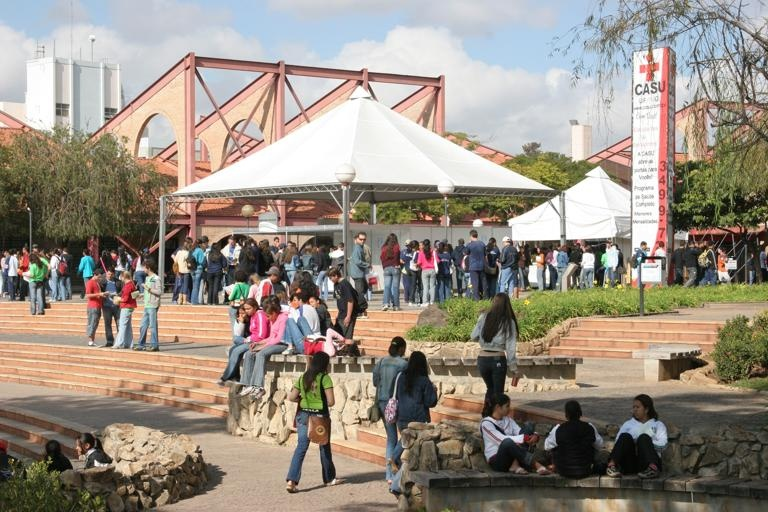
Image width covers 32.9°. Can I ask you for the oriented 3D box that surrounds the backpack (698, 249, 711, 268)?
[{"bbox_3d":[11.138,0.108,45.132,0.614,0.644,0.423,-2,-2,-14],"label":"backpack"}]

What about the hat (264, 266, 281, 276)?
[{"bbox_3d":[-3.027,0.467,35.587,0.368,0.203,0.291,8,7,35],"label":"hat"}]

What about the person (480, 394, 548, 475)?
[{"bbox_3d":[2.513,3.566,25.956,1.141,1.537,0.331,-1,-3,5],"label":"person"}]

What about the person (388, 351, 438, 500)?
[{"bbox_3d":[0.599,3.430,26.648,0.953,2.935,0.638,0,-3,0],"label":"person"}]

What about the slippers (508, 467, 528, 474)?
[{"bbox_3d":[2.681,4.253,25.759,0.134,0.152,0.368,5,-7,-35],"label":"slippers"}]

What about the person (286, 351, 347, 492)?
[{"bbox_3d":[-1.475,3.463,27.150,1.095,2.894,0.886,0,-3,-2],"label":"person"}]

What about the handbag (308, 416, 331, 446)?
[{"bbox_3d":[-1.347,3.620,26.894,0.469,0.649,0.251,0,-3,-10],"label":"handbag"}]

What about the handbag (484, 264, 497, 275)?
[{"bbox_3d":[3.125,0.440,37.825,0.369,0.270,0.203,2,-3,-28],"label":"handbag"}]

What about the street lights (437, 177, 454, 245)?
[{"bbox_3d":[2.028,-1.353,42.601,0.594,2.161,0.590,2,-4,-20],"label":"street lights"}]

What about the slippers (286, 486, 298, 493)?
[{"bbox_3d":[-1.876,4.831,26.882,0.271,0.134,0.168,1,-4,-23],"label":"slippers"}]

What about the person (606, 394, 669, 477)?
[{"bbox_3d":[5.048,3.570,25.771,1.169,1.612,0.542,-1,-3,12],"label":"person"}]

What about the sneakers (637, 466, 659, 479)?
[{"bbox_3d":[5.227,4.295,25.660,0.465,0.237,0.169,1,-1,-5],"label":"sneakers"}]

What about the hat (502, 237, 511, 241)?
[{"bbox_3d":[3.739,-0.476,39.263,0.249,0.199,0.355,-1,4,-2],"label":"hat"}]

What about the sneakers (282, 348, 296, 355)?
[{"bbox_3d":[-2.195,2.222,30.253,0.335,0.157,0.134,3,-4,-2],"label":"sneakers"}]

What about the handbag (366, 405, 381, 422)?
[{"bbox_3d":[-0.251,3.281,27.016,0.309,0.410,0.322,-3,1,-24],"label":"handbag"}]

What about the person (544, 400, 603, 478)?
[{"bbox_3d":[3.802,3.675,26.152,1.101,1.525,1.104,-2,1,-11],"label":"person"}]

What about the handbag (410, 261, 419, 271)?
[{"bbox_3d":[0.860,0.285,37.271,0.191,0.247,0.254,4,-6,-18],"label":"handbag"}]

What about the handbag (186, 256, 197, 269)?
[{"bbox_3d":[-5.865,0.192,39.571,0.345,0.497,0.253,-3,3,24],"label":"handbag"}]

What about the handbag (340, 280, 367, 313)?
[{"bbox_3d":[-0.834,1.018,32.628,0.471,0.401,0.683,-15,41,0],"label":"handbag"}]

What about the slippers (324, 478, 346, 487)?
[{"bbox_3d":[-1.027,4.745,27.341,0.434,0.205,0.156,-7,6,-14],"label":"slippers"}]

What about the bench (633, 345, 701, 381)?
[{"bbox_3d":[6.670,2.541,30.660,1.661,0.824,0.793,3,-5,-40],"label":"bench"}]

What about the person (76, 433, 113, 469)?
[{"bbox_3d":[-6.071,4.085,27.211,0.670,0.697,1.158,1,-4,-13],"label":"person"}]
